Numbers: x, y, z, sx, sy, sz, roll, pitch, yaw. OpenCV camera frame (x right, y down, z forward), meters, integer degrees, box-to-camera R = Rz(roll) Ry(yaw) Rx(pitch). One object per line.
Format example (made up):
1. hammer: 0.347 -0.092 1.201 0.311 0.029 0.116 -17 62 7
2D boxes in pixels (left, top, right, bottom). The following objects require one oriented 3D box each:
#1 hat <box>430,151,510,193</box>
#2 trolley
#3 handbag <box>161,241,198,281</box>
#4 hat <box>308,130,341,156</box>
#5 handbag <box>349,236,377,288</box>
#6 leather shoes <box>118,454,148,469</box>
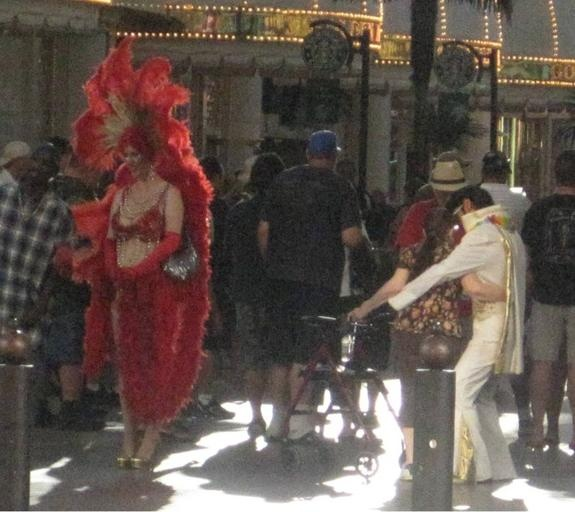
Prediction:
1. hat: 1.198 -0.559 6.812 0.453 0.153 0.306 -3 1 -23
2. trolley: 0.322 0.817 6.176 1.009 1.156 0.928 -2 -9 5
3. handbag: -0.630 0.027 5.926 0.155 0.116 0.228 -1 41 12
4. hat: 0.238 -0.717 6.412 0.144 0.100 0.189 4 20 13
5. handbag: 0.476 0.028 6.379 0.170 0.292 0.179 -34 51 -18
6. leather shoes: -0.915 1.211 5.955 0.134 0.042 0.084 4 -6 14
